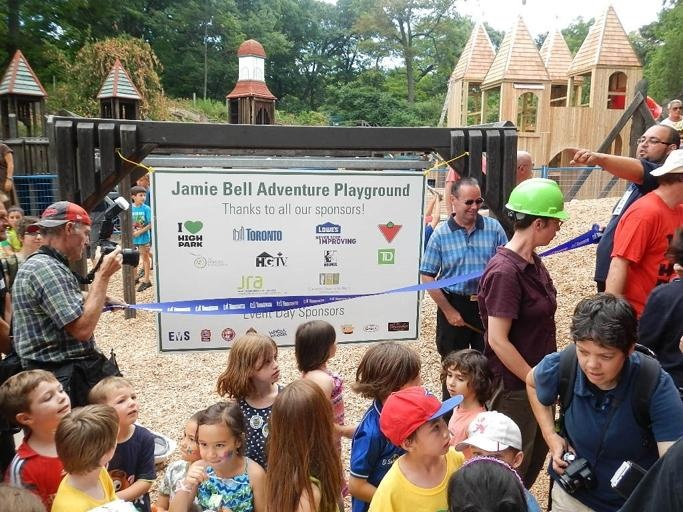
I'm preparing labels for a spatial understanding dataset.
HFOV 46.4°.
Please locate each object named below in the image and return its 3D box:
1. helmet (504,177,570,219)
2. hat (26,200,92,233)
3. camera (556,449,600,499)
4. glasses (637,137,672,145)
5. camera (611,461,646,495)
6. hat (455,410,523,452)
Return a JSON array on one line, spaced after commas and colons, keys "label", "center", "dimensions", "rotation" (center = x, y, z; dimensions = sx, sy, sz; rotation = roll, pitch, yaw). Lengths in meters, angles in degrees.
[{"label": "helmet", "center": [1.626, -0.473, 6.666], "dimensions": [0.390, 0.245, 0.340], "rotation": [0, 10, 7]}, {"label": "hat", "center": [-2.472, -0.336, 6.935], "dimensions": [0.386, 0.235, 0.265], "rotation": [9, -12, -36]}, {"label": "camera", "center": [1.745, 1.622, 5.979], "dimensions": [0.262, 0.275, 0.269], "rotation": [-20, 34, -3]}, {"label": "glasses", "center": [3.073, -1.129, 7.755], "dimensions": [0.292, 0.078, 0.146], "rotation": [6, 11, 28]}, {"label": "camera", "center": [2.023, 1.569, 5.625], "dimensions": [0.198, 0.239, 0.079], "rotation": [43, 1, 6]}, {"label": "hat", "center": [1.111, 1.319, 5.947], "dimensions": [0.373, 0.231, 0.273], "rotation": [11, -19, -35]}]
